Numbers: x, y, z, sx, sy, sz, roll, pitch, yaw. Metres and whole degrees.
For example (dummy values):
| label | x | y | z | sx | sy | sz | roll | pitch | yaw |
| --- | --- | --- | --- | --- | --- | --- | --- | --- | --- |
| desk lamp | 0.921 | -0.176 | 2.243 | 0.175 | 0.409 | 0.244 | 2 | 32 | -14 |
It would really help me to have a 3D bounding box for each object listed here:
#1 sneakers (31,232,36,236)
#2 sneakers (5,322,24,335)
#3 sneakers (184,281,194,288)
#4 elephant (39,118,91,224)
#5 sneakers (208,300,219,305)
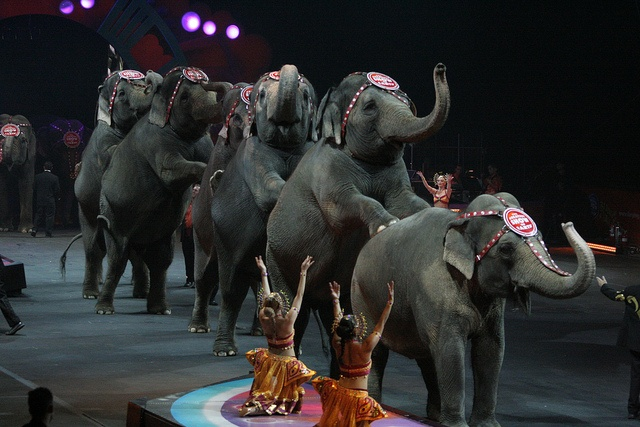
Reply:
| label | x | y | z | sx | sy | sz | roll | pitch | yaw |
| --- | --- | --- | --- | --- | --- | --- | --- | --- | --- |
| sneakers | -7.487 | 0.544 | 17.204 | 0.116 | 0.123 | 0.248 | 5 | 5 | -25 |
| sneakers | -3.625 | 1.353 | 7.827 | 0.184 | 0.172 | 0.249 | 5 | 5 | -23 |
| sneakers | -2.296 | 1.237 | 11.428 | 0.250 | 0.098 | 0.086 | -5 | -2 | 32 |
| elephant | -7.339 | -1.340 | 20.335 | 1.847 | 2.611 | 4.090 | 0 | -4 | -17 |
| sneakers | -1.587 | 1.350 | 9.851 | 0.132 | 0.050 | 0.046 | -3 | -3 | 39 |
